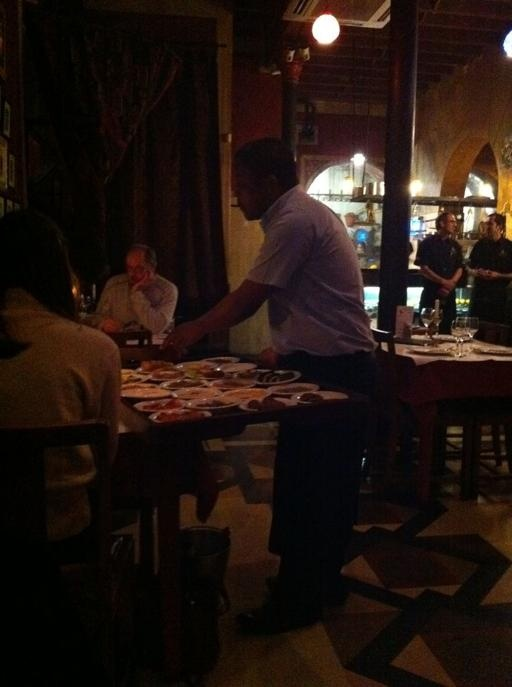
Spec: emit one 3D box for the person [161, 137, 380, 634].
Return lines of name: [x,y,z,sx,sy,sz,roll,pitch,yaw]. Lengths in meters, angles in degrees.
person: [0.175,0.109,2.777,1.035,2.930,0.948,1,-1,6]

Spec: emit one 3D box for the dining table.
dining table: [-0.195,0.481,1.690,0.496,0.747,0.766,-2,7,-33]
